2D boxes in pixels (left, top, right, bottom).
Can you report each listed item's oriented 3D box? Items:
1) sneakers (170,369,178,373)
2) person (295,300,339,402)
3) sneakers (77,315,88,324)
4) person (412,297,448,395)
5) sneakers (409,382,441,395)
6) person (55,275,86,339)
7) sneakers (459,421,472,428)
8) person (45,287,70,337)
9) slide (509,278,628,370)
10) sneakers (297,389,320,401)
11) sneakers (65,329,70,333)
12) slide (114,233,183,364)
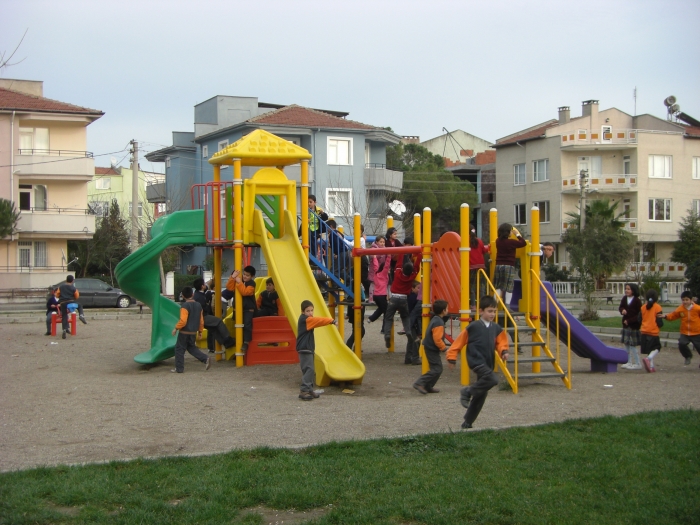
[{"bbox_3d":[-3.730,2.309,19.168,0.062,0.077,0.179,3,-5,-24],"label":"sneakers"},{"bbox_3d":[-0.679,1.563,16.156,0.497,1.740,0.442,0,2,-15],"label":"person"},{"bbox_3d":[-8.957,1.923,30.115,0.116,0.352,0.241,-42,11,-23],"label":"sneakers"},{"bbox_3d":[1.467,1.522,16.180,0.548,1.717,1.107,1,1,4],"label":"person"},{"bbox_3d":[1.367,2.298,16.364,0.593,0.292,0.200,-8,5,-1],"label":"sneakers"},{"bbox_3d":[-8.348,1.247,26.940,0.687,1.913,0.567,-4,20,-31],"label":"person"},{"bbox_3d":[1.785,2.470,13.682,0.083,0.081,0.144,0,-18,31],"label":"sneakers"},{"bbox_3d":[-8.865,1.447,26.815,0.392,1.364,1.315,0,1,-18],"label":"person"},{"bbox_3d":[4.642,1.226,18.726,2.591,2.046,0.609,5,-2,-21],"label":"slide"},{"bbox_3d":[-0.729,2.350,16.122,0.410,0.235,0.157,-4,6,-14],"label":"sneakers"},{"bbox_3d":[-8.381,2.052,26.739,0.195,0.113,0.287,0,3,-10],"label":"sneakers"},{"bbox_3d":[-4.530,0.802,20.537,1.306,2.932,2.086,0,2,-26],"label":"slide"}]
